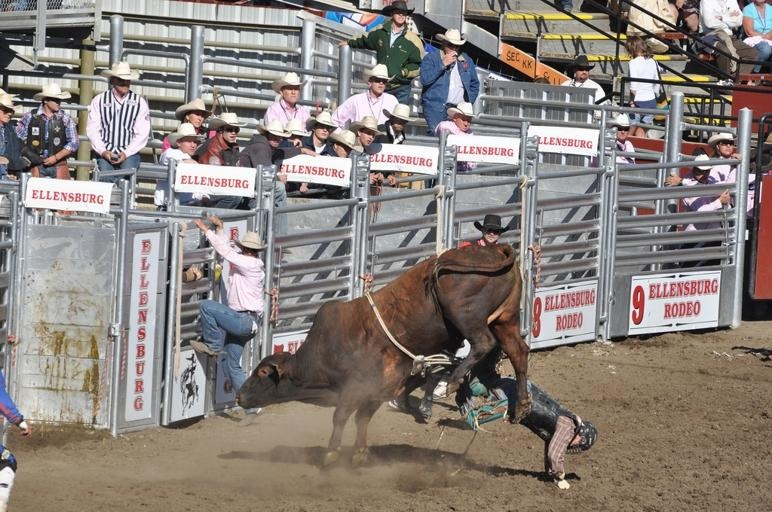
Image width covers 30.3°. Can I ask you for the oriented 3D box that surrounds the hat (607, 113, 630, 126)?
[{"bbox_3d":[4.407,-2.550,26.737,0.356,0.257,0.758,0,6,10],"label":"hat"}]

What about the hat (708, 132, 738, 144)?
[{"bbox_3d":[6.022,-2.095,25.563,0.474,0.202,0.289,2,6,25],"label":"hat"}]

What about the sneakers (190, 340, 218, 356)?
[{"bbox_3d":[-2.705,1.335,21.190,0.482,0.157,0.194,15,6,-2],"label":"sneakers"}]

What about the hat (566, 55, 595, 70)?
[{"bbox_3d":[3.801,-3.694,27.543,0.546,0.261,0.661,0,0,1],"label":"hat"}]

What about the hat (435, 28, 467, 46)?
[{"bbox_3d":[1.207,-3.879,25.388,0.343,0.284,0.403,-1,6,-3],"label":"hat"}]

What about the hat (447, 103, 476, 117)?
[{"bbox_3d":[1.313,-2.549,24.544,0.337,0.125,0.286,8,-21,-12],"label":"hat"}]

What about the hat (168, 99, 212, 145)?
[{"bbox_3d":[-3.289,-2.348,24.119,0.752,0.344,0.871,18,-36,-27],"label":"hat"}]

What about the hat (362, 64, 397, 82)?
[{"bbox_3d":[-0.093,-3.229,25.224,0.547,0.240,0.602,1,-12,-6],"label":"hat"}]

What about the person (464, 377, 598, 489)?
[{"bbox_3d":[1.806,2.423,19.680,1.886,0.641,1.330,28,28,-24],"label":"person"}]

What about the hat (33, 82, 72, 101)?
[{"bbox_3d":[-5.740,-2.902,24.397,0.545,0.216,0.585,-1,-9,-22],"label":"hat"}]

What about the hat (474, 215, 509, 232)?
[{"bbox_3d":[1.452,-0.445,19.535,0.407,0.259,0.556,0,6,4],"label":"hat"}]

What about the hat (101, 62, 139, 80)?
[{"bbox_3d":[-4.539,-3.158,24.136,0.489,0.206,0.523,0,-6,-20],"label":"hat"}]
